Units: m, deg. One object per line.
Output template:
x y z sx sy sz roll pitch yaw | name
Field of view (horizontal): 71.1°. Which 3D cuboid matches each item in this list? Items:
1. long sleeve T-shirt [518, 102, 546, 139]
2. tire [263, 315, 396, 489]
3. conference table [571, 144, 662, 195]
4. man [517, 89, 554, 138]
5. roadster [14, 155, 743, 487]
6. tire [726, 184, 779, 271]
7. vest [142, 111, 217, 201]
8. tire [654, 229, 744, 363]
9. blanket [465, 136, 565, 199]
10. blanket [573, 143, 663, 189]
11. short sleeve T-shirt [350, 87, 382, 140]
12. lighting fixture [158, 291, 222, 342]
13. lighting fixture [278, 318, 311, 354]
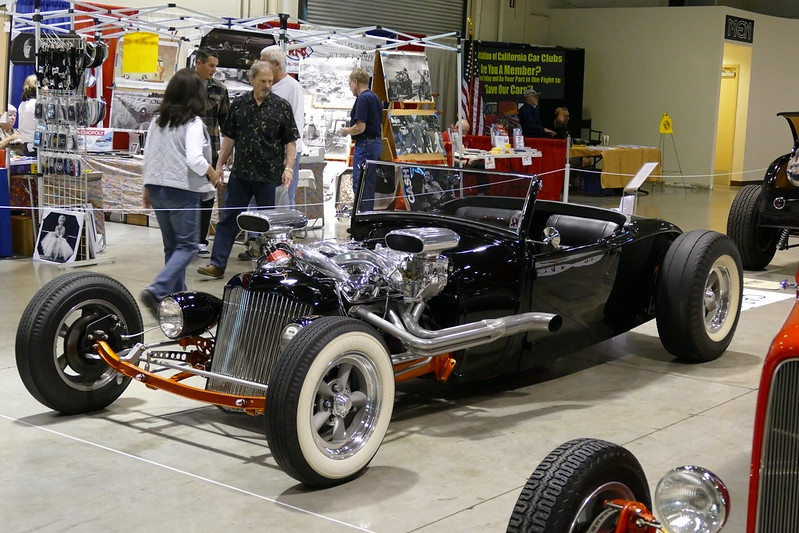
3.490 -3.871 14.927 0.625 0.989 1.263 -2 23 6 | long sleeve T-shirt
-0.354 0.694 2.815 0.757 0.846 0.236 10 -3 -44 | tire
5.423 -2.482 14.288 2.352 1.019 2.511 6 12 40 | conference table
3.622 -3.913 14.733 0.830 1.454 0.849 -1 17 12 | man
0.347 0.237 4.119 4.828 1.573 2.177 -7 9 -43 | roadster
4.620 -0.497 7.267 0.382 1.115 1.001 8 -7 44 | tire
-2.129 -1.072 5.389 0.716 0.680 0.424 8 6 16 | vest
2.423 0.244 4.547 1.102 1.259 0.432 -1 2 -42 | tire
1.880 -1.678 9.100 1.279 1.189 2.446 5 6 25 | blanket
6.749 -2.851 15.631 1.961 0.714 1.888 -23 30 -29 | blanket
-0.518 -2.443 9.135 0.468 0.830 0.826 2 9 16 | short sleeve T-shirt
-1.300 0.291 3.614 0.261 0.268 0.490 3 6 23 | lighting fixture
-0.536 0.377 2.980 0.080 0.190 0.138 20 -3 -37 | lighting fixture
